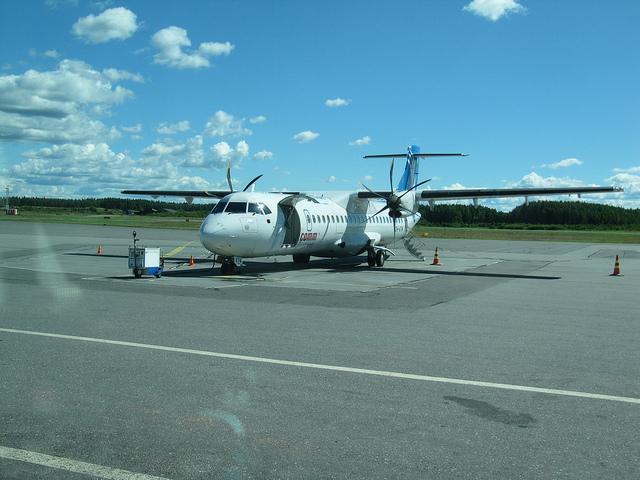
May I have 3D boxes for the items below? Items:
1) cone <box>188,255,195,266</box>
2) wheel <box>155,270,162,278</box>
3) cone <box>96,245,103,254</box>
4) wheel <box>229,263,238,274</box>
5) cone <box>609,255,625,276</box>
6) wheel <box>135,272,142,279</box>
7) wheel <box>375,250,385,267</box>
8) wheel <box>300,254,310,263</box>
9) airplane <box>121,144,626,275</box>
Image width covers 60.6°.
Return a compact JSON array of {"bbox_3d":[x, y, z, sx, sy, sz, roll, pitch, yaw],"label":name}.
[{"bbox_3d":[-6.044,0.929,25.020,0.426,0.436,0.408,-1,-6,12],"label":"cone"},{"bbox_3d":[-5.868,1.172,19.563,0.195,0.263,0.355,-2,8,-17],"label":"wheel"},{"bbox_3d":[-12.698,0.546,31.163,0.337,0.479,0.321,1,-2,7],"label":"cone"},{"bbox_3d":[-3.386,1.031,20.934,0.469,0.419,0.161,0,-2,4],"label":"wheel"},{"bbox_3d":[14.572,1.212,26.820,0.896,1.059,0.836,2,-2,-3],"label":"cone"},{"bbox_3d":[-6.526,1.198,19.413,0.089,0.228,0.251,-1,3,40],"label":"wheel"},{"bbox_3d":[2.825,0.828,26.287,0.253,0.658,0.701,-3,9,15],"label":"wheel"},{"bbox_3d":[-0.730,0.815,25.842,0.356,0.599,0.653,-1,-2,31],"label":"wheel"},{"bbox_3d":[0.339,-1.354,24.604,14.215,5.418,14.080,8,10,44],"label":"airplane"}]
